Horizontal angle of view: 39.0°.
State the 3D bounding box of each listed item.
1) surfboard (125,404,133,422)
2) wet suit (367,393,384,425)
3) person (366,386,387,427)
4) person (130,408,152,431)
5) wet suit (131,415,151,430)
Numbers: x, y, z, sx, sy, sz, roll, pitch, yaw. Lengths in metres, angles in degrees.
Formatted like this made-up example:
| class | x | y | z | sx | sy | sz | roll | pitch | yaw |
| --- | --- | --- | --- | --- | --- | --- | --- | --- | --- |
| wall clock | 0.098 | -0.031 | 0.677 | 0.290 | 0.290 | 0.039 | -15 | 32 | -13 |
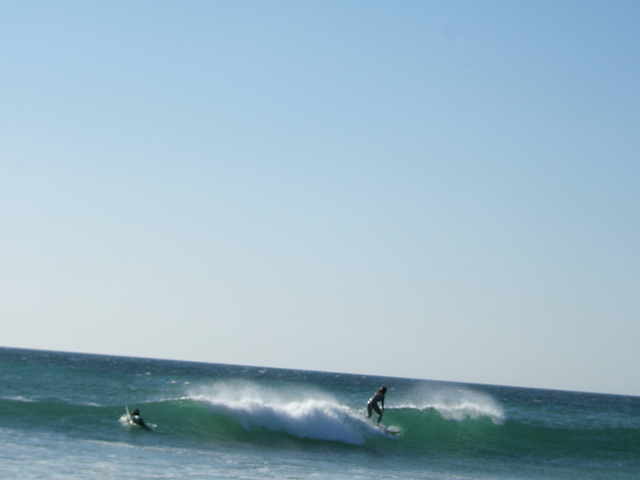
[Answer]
| class | x | y | z | sx | sy | sz | roll | pitch | yaw |
| --- | --- | --- | --- | --- | --- | --- | --- | --- | --- |
| surfboard | -8.468 | 7.622 | 40.085 | 0.066 | 0.697 | 0.107 | -20 | -38 | -18 |
| wet suit | 2.585 | 7.723 | 41.919 | 0.744 | 1.413 | 1.574 | 3 | -6 | 4 |
| person | 2.654 | 7.682 | 42.280 | 0.768 | 1.777 | 2.621 | 3 | -6 | 4 |
| person | -7.816 | 7.704 | 39.277 | 1.181 | 0.789 | 0.553 | -2 | -7 | 39 |
| wet suit | -7.763 | 7.825 | 39.260 | 0.965 | 0.550 | 0.426 | 2 | -6 | 16 |
